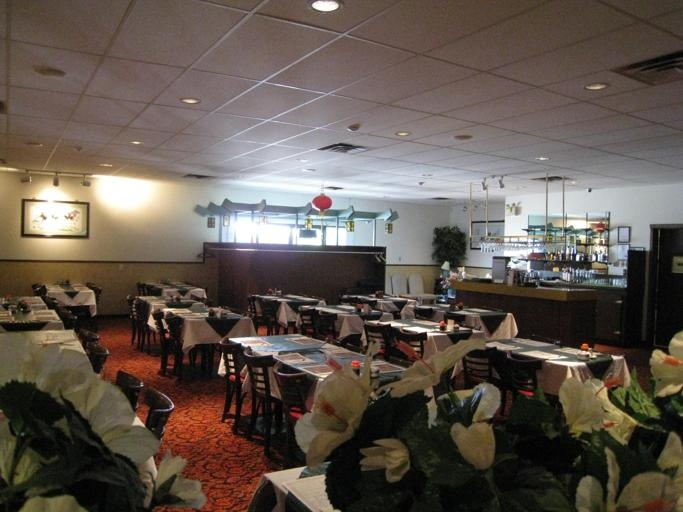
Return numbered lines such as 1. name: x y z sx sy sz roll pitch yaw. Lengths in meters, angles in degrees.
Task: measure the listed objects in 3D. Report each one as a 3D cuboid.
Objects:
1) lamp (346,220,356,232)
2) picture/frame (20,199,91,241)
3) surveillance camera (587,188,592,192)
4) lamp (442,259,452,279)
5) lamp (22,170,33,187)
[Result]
1. lamp: 0.176 -0.692 10.979 0.129 0.242 0.299 -7 7 8
2. picture/frame: -6.143 -0.804 10.501 1.093 0.663 0.043 0 5 -23
3. surveillance camera: 5.069 -1.378 10.174 0.071 0.063 0.079 1 -8 -3
4. lamp: 3.162 0.383 15.009 0.283 0.574 0.879 -6 7 11
5. lamp: -6.297 -1.589 9.901 0.221 0.272 0.105 9 -28 -35
